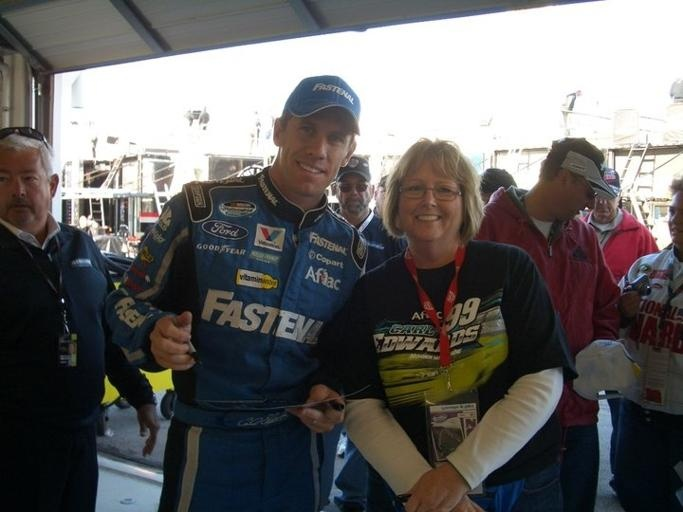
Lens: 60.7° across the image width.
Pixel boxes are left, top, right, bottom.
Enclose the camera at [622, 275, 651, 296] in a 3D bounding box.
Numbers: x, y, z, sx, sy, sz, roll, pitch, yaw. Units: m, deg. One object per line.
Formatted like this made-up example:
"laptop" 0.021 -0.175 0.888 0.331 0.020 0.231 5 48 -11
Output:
"camera" 1.711 0.165 3.363 0.138 0.080 0.163 9 6 44
